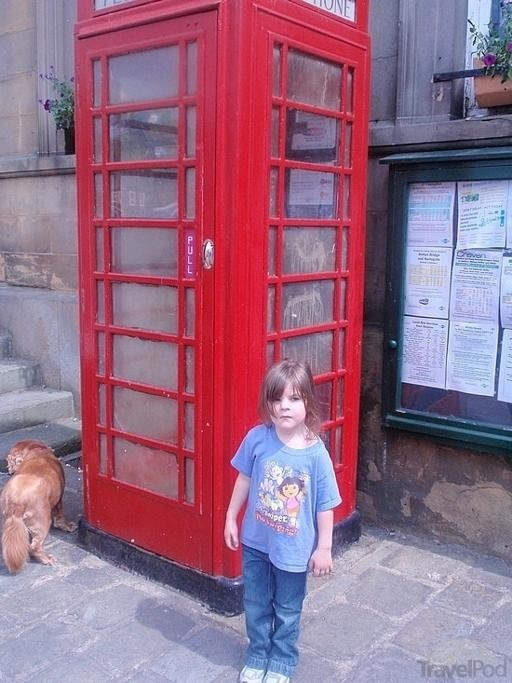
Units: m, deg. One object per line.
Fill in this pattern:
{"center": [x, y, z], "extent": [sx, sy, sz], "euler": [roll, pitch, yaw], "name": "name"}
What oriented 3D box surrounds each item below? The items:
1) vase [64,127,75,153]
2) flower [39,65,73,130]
{"center": [-1.788, -1.906, 5.879], "extent": [0.125, 0.246, 0.057], "euler": [3, 9, 26], "name": "vase"}
{"center": [-1.919, -2.341, 5.948], "extent": [0.306, 0.646, 0.585], "euler": [-5, 10, -22], "name": "flower"}
